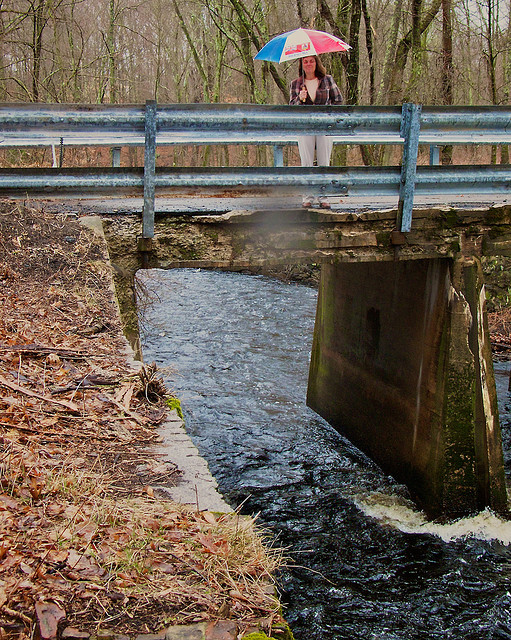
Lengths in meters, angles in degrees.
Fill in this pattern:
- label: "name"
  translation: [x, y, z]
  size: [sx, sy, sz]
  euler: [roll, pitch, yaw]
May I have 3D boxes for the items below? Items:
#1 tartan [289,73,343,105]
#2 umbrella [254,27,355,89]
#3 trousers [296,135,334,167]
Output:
- label: "tartan"
  translation: [0.639, -2.466, 8.828]
  size: [0.533, 0.322, 0.357]
  euler: [1, 11, 4]
- label: "umbrella"
  translation: [0.612, -2.976, 9.349]
  size: [0.998, 0.624, 0.911]
  euler: [3, 31, 31]
- label: "trousers"
  translation: [0.605, -1.708, 8.365]
  size: [0.364, 0.294, 0.993]
  euler: [0, 11, 3]
